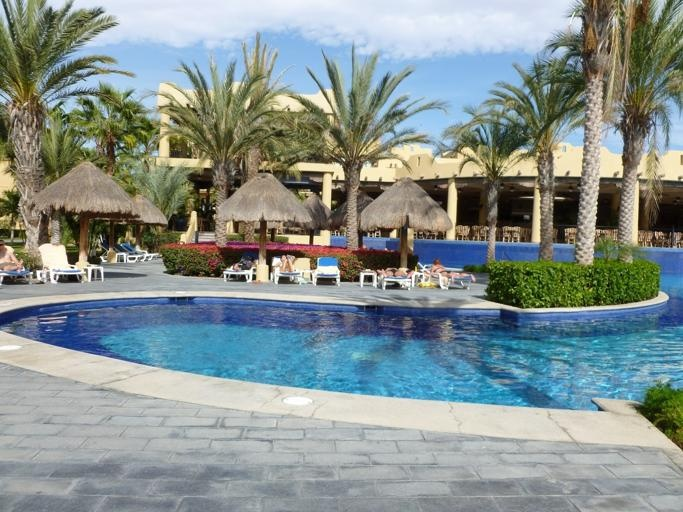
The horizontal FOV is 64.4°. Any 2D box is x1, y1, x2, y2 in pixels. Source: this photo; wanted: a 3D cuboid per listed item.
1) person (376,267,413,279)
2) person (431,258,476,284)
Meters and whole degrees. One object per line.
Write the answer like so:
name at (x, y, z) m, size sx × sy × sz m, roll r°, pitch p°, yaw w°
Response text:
person at (1.719, 0.510, 17.579) m, size 1.218 × 0.260 × 0.708 m, roll 1°, pitch 4°, yaw -28°
person at (3.681, 0.523, 18.397) m, size 1.025 × 0.592 × 1.591 m, roll 0°, pitch 1°, yaw -23°
